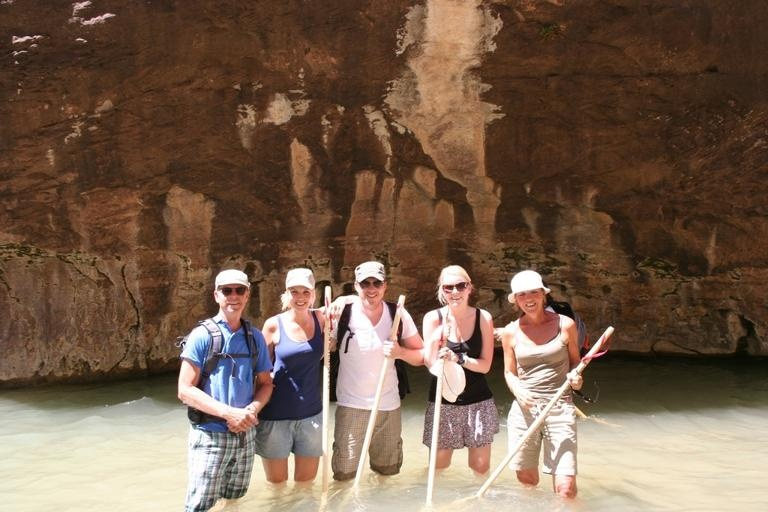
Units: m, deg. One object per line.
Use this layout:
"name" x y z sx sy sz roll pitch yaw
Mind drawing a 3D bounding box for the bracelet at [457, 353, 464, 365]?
"bracelet" 0.925 1.277 10.839 0.086 0.139 0.064 1 -3 -2

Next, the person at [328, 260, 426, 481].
"person" -0.165 1.453 10.982 1.094 2.726 0.567 1 -4 -4

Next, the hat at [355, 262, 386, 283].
"hat" -0.194 0.206 10.948 0.355 0.252 0.310 1 -3 -5

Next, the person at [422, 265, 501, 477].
"person" 0.933 1.446 10.951 0.941 2.627 0.465 1 -4 3

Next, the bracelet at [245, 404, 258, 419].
"bracelet" -1.578 1.826 10.356 0.146 0.159 0.076 -9 -30 -25

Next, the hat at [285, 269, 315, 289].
"hat" -1.047 0.291 10.818 0.328 0.250 0.184 1 -3 3
